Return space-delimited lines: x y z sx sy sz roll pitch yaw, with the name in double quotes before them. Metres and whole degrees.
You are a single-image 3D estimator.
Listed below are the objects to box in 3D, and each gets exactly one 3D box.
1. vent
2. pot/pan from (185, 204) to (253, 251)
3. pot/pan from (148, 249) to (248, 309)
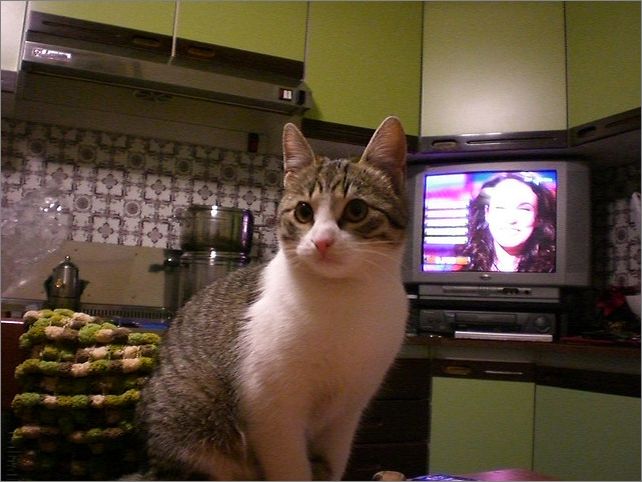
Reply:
"vent" -0.687 -0.684 2.370 1.552 0.185 0.723 2 -4 -15
"pot/pan" -0.432 -0.052 2.416 0.362 0.127 0.255 2 -1 -6
"pot/pan" -0.599 0.168 2.600 0.499 0.271 0.366 1 -2 -16
